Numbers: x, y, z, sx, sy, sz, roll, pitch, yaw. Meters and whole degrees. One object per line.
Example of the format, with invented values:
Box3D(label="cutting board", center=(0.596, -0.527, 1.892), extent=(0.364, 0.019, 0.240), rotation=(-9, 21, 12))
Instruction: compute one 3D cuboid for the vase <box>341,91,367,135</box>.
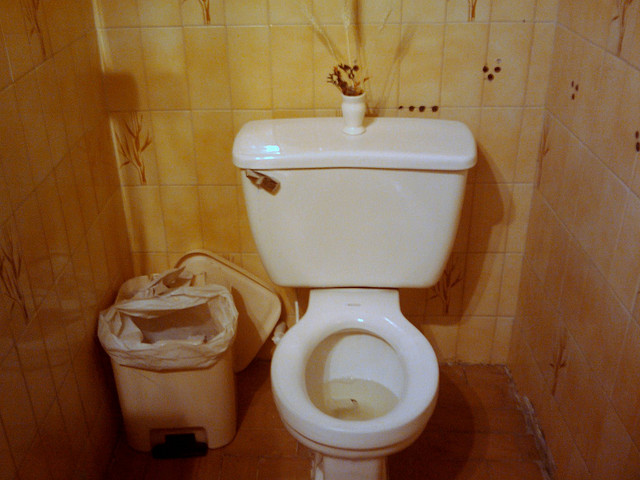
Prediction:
Box3D(label="vase", center=(0.100, -0.367, 1.480), extent=(0.080, 0.112, 0.066), rotation=(-8, 28, -18))

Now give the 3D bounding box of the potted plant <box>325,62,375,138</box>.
Box3D(label="potted plant", center=(0.096, -0.391, 1.483), extent=(0.096, 0.165, 0.102), rotation=(-4, 11, -19))
